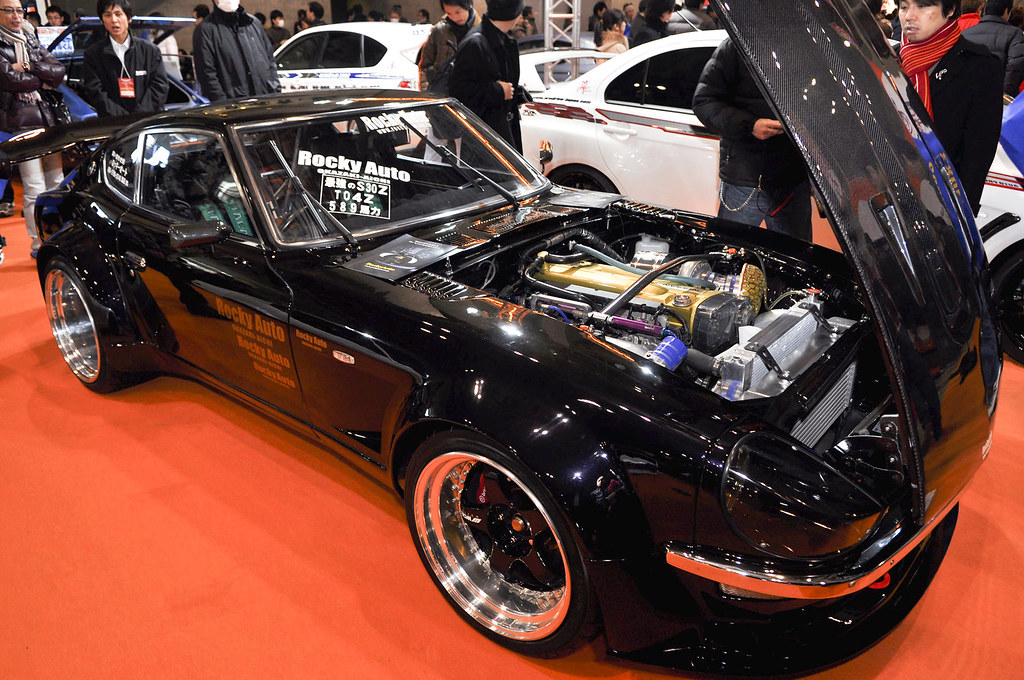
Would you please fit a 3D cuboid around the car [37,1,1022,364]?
[{"bbox_3d":[1.698,-1.596,5.288,4.313,1.362,1.820,23,36,26],"label":"car"}]
